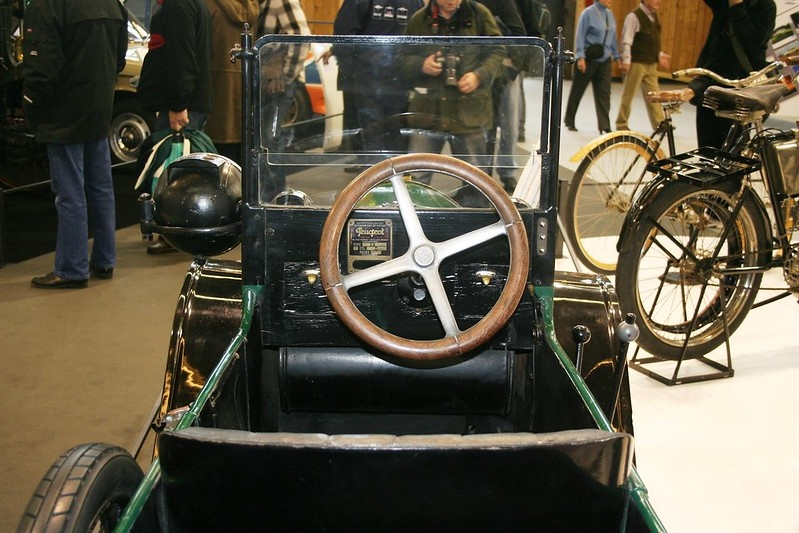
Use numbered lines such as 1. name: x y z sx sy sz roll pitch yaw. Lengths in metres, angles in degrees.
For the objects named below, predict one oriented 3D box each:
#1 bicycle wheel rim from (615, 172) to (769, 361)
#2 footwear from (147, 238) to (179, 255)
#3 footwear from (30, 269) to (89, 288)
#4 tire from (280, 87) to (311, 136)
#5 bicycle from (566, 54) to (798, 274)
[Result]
1. bicycle wheel rim: 1.782 0.024 4.507 1.045 1.164 0.299 -6 18 -19
2. footwear: -1.837 -0.153 5.819 0.321 0.144 0.117 3 9 5
3. footwear: -2.567 0.116 5.708 0.386 0.186 0.168 5 3 -5
4. tire: -0.439 -0.673 3.179 0.154 0.176 0.059 2 10 11
5. bicycle: 2.355 -0.809 5.442 2.091 1.448 1.155 -4 19 -11
